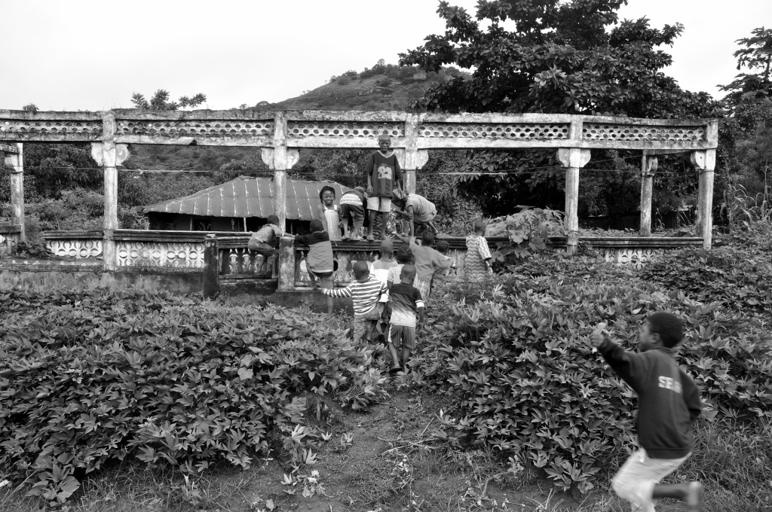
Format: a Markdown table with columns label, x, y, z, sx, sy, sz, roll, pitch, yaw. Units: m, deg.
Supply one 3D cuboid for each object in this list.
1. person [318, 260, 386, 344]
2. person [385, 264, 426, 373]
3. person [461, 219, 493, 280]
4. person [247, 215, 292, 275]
| label | x | y | z | sx | sy | sz | roll | pitch | yaw |
| --- | --- | --- | --- | --- | --- | --- | --- | --- | --- |
| person | -0.390 | 0.812 | 14.773 | 0.650 | 1.478 | 0.653 | -4 | 5 | -31 |
| person | 0.351 | 1.115 | 14.282 | 0.597 | 1.865 | 0.380 | -1 | 4 | -1 |
| person | 1.787 | -0.122 | 16.126 | 0.613 | 1.160 | 2.151 | 0 | 5 | 6 |
| person | -2.296 | -0.191 | 16.269 | 0.879 | 1.180 | 0.665 | -5 | 6 | -38 |
